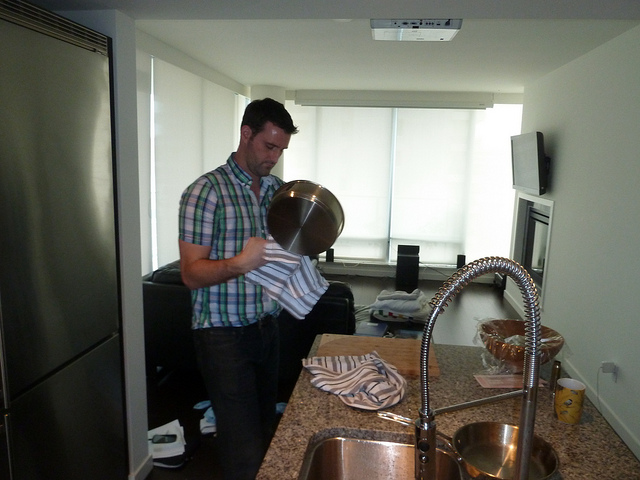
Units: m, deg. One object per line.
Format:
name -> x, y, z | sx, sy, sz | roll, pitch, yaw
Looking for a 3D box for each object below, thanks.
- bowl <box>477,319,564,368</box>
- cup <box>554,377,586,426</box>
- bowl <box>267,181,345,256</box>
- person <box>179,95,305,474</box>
bowl -> 0.757, 0.396, 1.937 | 0.308, 0.135, 0.311 | 0, 4, 0
cup -> 0.840, 0.541, 1.664 | 0.081, 0.139, 0.090 | -22, 27, -34
bowl -> -0.062, -0.075, 1.763 | 0.273, 0.286, 0.095 | 11, 42, -4
person -> -0.296, 0.270, 2.072 | 0.518, 1.720, 0.644 | -3, 11, -31
